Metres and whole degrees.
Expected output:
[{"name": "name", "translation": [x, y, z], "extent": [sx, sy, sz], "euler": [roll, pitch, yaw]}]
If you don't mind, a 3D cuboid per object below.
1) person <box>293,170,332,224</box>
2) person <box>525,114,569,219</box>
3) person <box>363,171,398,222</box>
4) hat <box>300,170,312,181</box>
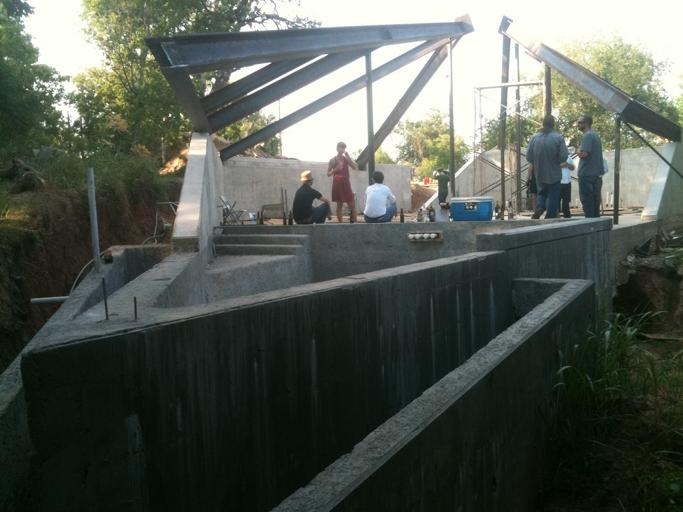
[{"name": "person", "translation": [-0.666, -1.274, 13.645], "extent": [0.766, 1.128, 1.397], "euler": [-2, 6, -16]}, {"name": "person", "translation": [3.807, -1.660, 11.560], "extent": [0.715, 1.926, 0.845], "euler": [1, 5, 15]}, {"name": "person", "translation": [0.803, -1.226, 12.953], "extent": [0.631, 1.039, 0.842], "euler": [0, 6, 3]}, {"name": "hat", "translation": [-0.771, -1.730, 13.585], "extent": [0.226, 0.208, 0.534], "euler": [0, 6, -2]}]
